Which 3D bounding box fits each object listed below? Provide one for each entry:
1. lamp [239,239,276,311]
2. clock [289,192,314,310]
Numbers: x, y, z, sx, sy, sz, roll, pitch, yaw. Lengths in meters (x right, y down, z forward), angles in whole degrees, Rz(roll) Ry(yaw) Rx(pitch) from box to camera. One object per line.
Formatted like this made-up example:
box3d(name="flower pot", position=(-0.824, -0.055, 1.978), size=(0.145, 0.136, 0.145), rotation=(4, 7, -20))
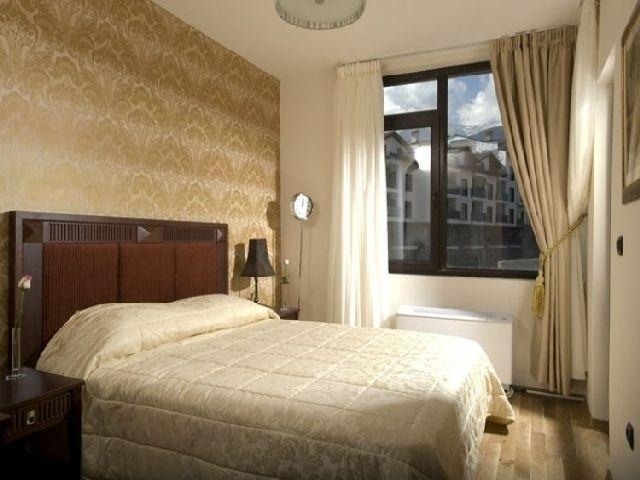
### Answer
box3d(name="lamp", position=(-0.644, 0.372, 4.675), size=(0.309, 0.809, 0.361), rotation=(1, 2, 20))
box3d(name="clock", position=(-0.228, 0.167, 5.204), size=(0.217, 1.353, 0.213), rotation=(1, 9, -13))
